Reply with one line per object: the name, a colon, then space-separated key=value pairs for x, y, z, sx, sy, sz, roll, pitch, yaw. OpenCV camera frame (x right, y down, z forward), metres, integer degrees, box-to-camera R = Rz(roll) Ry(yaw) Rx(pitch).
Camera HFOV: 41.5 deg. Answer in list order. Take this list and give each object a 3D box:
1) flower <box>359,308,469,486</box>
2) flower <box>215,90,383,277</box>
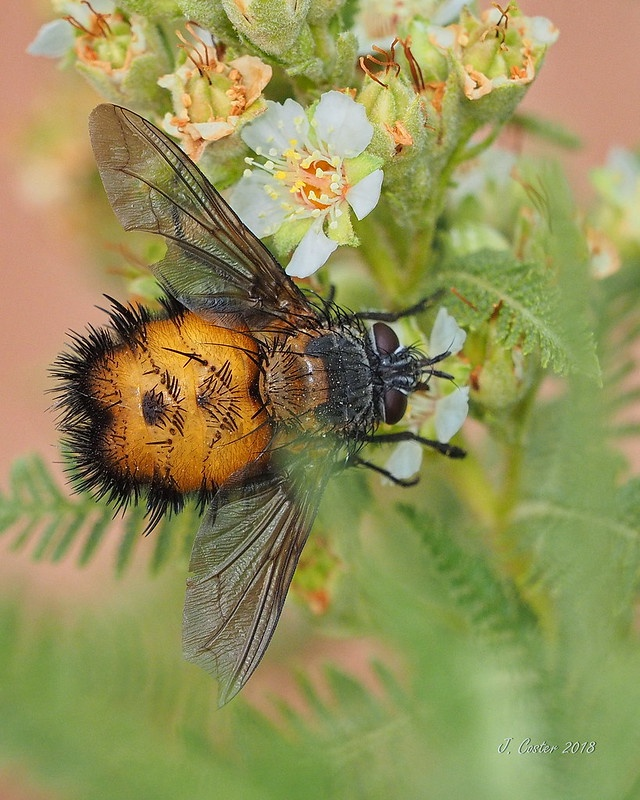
flower: x=0.104 y=-0.019 z=0.816 sx=0.078 sy=0.135 sz=0.162 roll=2 pitch=-45 yaw=8
flower: x=-0.018 y=-0.195 z=0.765 sx=0.058 sy=0.130 sz=0.165 roll=-4 pitch=-24 yaw=40
